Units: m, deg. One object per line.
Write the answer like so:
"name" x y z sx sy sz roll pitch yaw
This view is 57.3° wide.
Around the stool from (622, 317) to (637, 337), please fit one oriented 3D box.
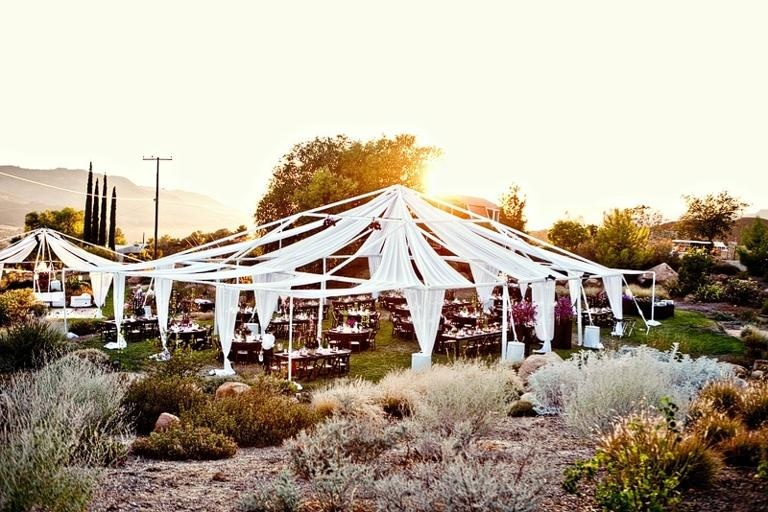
"stool" 9.434 2.754 26.918 0.689 0.821 0.706 0 -6 2
